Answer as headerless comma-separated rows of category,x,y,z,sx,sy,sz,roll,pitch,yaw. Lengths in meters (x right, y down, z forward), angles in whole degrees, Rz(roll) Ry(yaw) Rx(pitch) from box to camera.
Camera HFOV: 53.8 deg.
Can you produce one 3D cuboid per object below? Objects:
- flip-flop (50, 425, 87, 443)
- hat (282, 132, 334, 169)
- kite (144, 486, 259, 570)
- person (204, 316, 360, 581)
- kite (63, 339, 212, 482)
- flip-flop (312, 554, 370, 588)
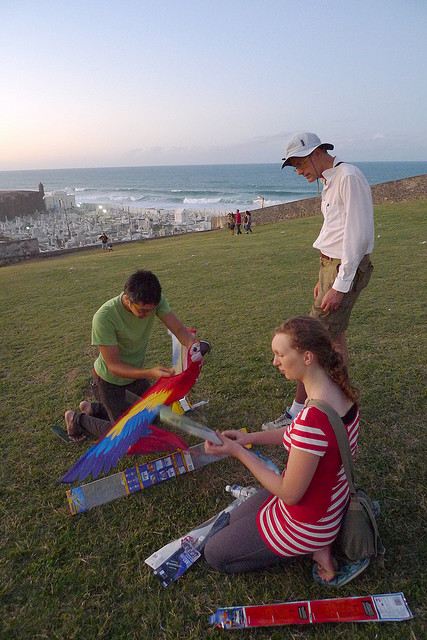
flip-flop,-1.305,0.990,3.669,0.134,0.045,0.441,-2,9,-40
hat,0.687,-1.244,3.047,0.369,0.210,0.359,-1,17,8
kite,-0.025,1.231,2.504,0.771,0.159,0.098,-33,11,-32
person,0.364,0.633,2.105,0.710,1.366,0.706,10,21,38
kite,-0.549,0.700,3.131,0.316,0.265,1.529,-2,30,47
flip-flop,0.653,1.244,2.125,0.284,0.124,0.130,-22,26,-5
